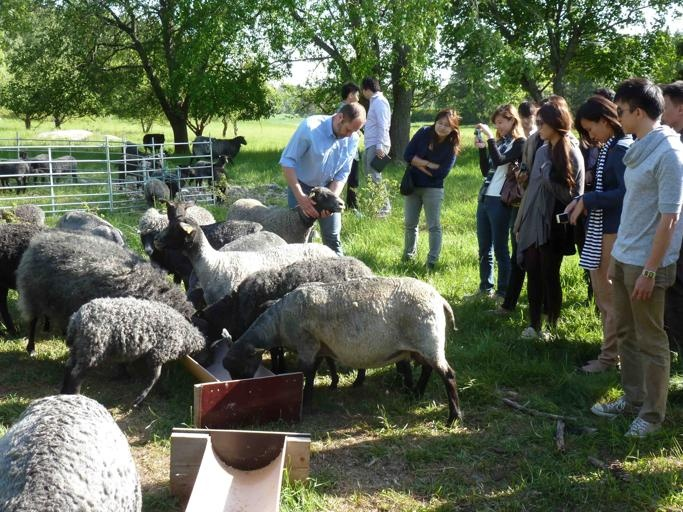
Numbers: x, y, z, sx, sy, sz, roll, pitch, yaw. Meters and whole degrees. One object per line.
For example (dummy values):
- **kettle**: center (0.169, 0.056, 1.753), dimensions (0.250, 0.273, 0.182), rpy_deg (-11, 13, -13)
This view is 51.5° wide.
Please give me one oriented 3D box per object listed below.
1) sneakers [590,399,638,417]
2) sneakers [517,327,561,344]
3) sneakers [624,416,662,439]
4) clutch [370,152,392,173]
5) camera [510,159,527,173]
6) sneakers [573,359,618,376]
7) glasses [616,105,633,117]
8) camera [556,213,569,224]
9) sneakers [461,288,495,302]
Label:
- **sneakers**: center (2.733, 1.503, 7.154), dimensions (0.432, 0.206, 0.173), rpy_deg (3, 0, 7)
- **sneakers**: center (2.388, 0.940, 8.614), dimensions (0.478, 0.230, 0.186), rpy_deg (7, -4, 0)
- **sneakers**: center (2.822, 1.625, 6.726), dimensions (0.405, 0.187, 0.149), rpy_deg (-7, 24, 6)
- **clutch**: center (0.708, -1.628, 12.787), dimensions (0.374, 0.377, 0.093), rpy_deg (38, 7, 14)
- **camera**: center (2.247, -1.123, 8.997), dimensions (0.171, 0.206, 0.137), rpy_deg (4, 17, -5)
- **sneakers**: center (2.828, 1.218, 7.922), dimensions (0.472, 0.224, 0.172), rpy_deg (4, -3, 11)
- **glasses**: center (2.634, -1.332, 6.562), dimensions (0.110, 0.038, 0.112), rpy_deg (10, 1, -11)
- **camera**: center (2.462, -0.408, 7.890), dimensions (0.151, 0.121, 0.094), rpy_deg (-1, -2, 7)
- **sneakers**: center (1.930, 0.551, 9.987), dimensions (0.480, 0.228, 0.183), rpy_deg (3, -2, -2)
